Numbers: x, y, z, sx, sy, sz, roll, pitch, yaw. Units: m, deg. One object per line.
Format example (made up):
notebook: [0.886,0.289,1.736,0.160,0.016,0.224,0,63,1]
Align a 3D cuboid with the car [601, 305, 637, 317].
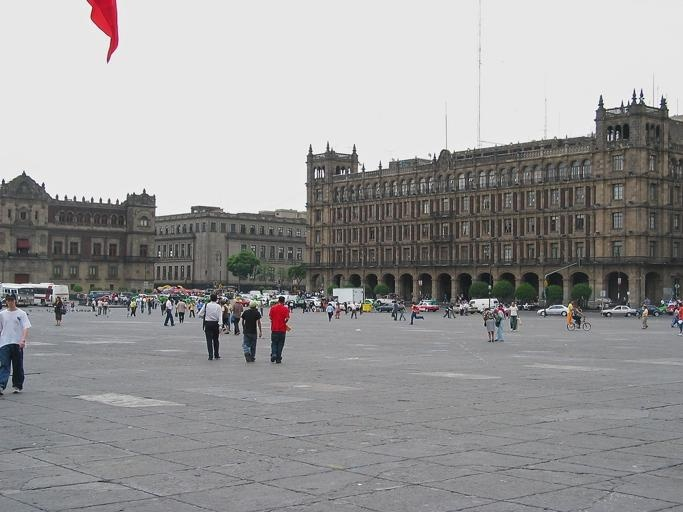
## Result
car: [21.965,4.435,89.572,2.483,0.811,1.111,3,0,9]

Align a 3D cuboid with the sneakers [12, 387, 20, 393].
sneakers: [-6.713,2.793,23.385,0.165,0.106,0.071,2,-4,-8]

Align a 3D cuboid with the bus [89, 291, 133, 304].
bus: [-23.028,4.165,112.522,3.679,1.024,2.336,-2,-1,27]

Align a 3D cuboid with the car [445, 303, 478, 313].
car: [10.128,4.402,94.032,1.504,0.768,2.545,0,-4,-14]

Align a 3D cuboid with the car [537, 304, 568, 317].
car: [16.682,4.323,89.231,2.215,0.725,0.953,2,1,7]
